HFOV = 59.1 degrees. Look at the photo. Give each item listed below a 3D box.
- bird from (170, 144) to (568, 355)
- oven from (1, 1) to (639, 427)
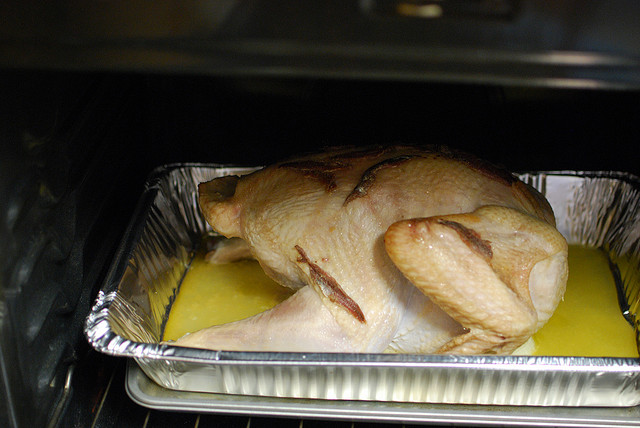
[{"bbox_3d":[0.222,0.120,1.769,0.848,0.363,0.776,2,26,4],"label":"bird"},{"bbox_3d":[-0.132,0.361,2.076,1.879,1.431,1.171,0,20,-1],"label":"oven"}]
